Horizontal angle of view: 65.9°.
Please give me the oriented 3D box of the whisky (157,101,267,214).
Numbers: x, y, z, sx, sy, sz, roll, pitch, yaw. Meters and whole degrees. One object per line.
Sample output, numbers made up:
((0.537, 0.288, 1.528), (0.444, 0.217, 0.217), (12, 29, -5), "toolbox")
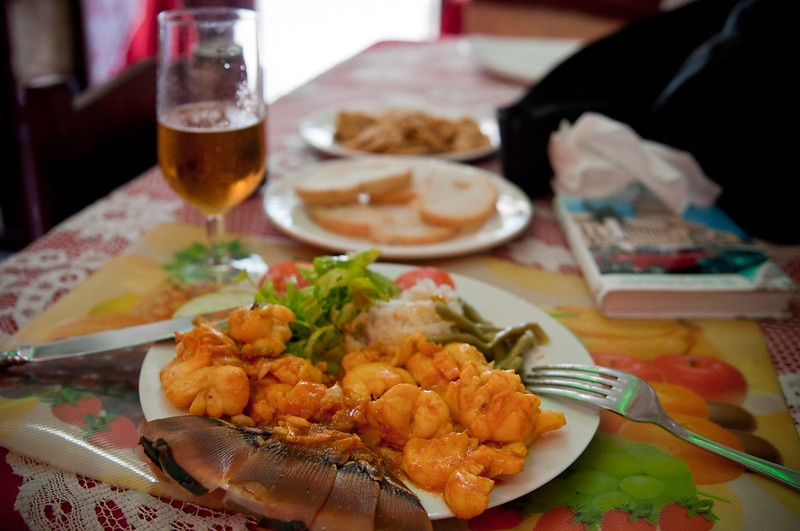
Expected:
((-0.434, -0.284, 1.632), (0.263, 0.281, 0.249), (5, 22, 4), "whisky")
